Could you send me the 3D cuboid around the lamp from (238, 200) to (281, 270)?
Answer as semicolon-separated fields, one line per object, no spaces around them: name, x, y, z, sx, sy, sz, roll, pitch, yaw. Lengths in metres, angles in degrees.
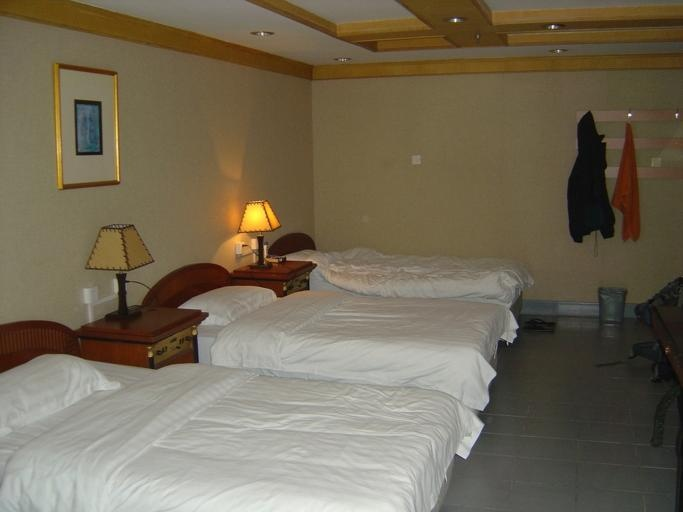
lamp;-0.881;-0.252;5.833;0.402;0.670;0.407;4;14;14

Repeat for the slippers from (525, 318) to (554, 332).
slippers;2.385;0.836;6.529;0.239;0.070;0.177;-2;8;17

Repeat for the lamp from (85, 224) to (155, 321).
lamp;-1.660;0.134;4.077;0.516;0.671;0.521;6;9;38

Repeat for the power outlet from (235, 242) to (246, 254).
power outlet;-1.076;-0.083;5.824;0.093;0.150;0.183;0;2;16

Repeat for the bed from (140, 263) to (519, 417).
bed;-0.096;0.601;4.434;2.313;0.670;1.484;3;15;17
